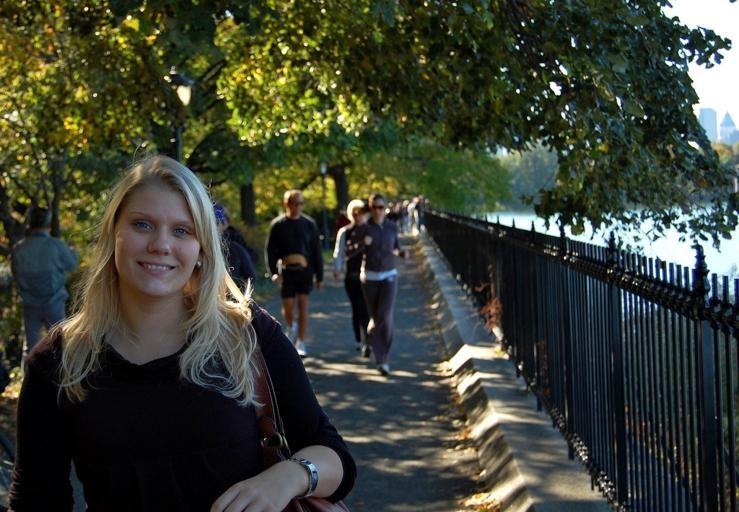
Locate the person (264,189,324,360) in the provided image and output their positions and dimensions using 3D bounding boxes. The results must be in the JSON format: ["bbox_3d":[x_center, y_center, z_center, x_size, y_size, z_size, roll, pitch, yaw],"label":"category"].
[{"bbox_3d":[-1.060,0.274,12.116,0.748,2.527,0.716,-4,16,-14],"label":"person"}]

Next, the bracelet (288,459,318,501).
[{"bbox_3d":[-0.293,1.020,3.806,0.121,0.172,0.059,-3,5,-11],"label":"bracelet"}]
